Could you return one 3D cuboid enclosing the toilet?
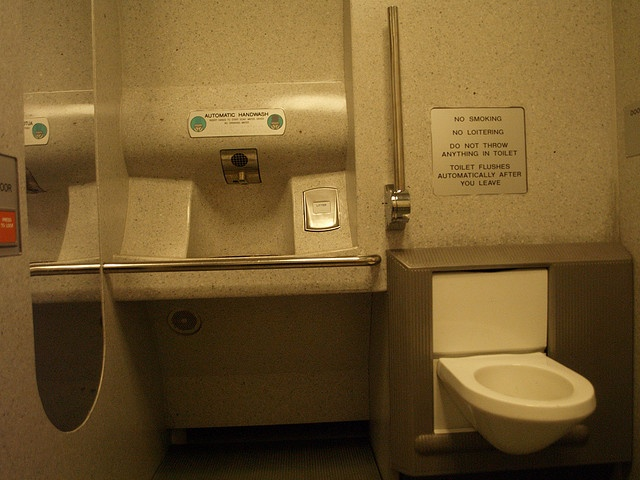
[{"bbox_3d":[0.717,0.466,2.233,0.475,0.770,0.713,-2,1,-1],"label":"toilet"}]
